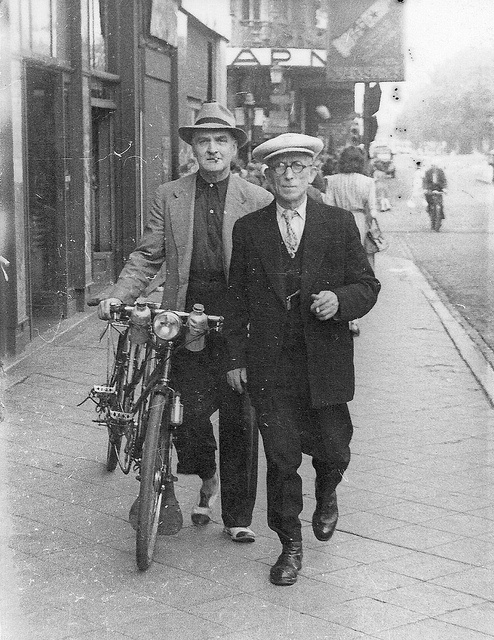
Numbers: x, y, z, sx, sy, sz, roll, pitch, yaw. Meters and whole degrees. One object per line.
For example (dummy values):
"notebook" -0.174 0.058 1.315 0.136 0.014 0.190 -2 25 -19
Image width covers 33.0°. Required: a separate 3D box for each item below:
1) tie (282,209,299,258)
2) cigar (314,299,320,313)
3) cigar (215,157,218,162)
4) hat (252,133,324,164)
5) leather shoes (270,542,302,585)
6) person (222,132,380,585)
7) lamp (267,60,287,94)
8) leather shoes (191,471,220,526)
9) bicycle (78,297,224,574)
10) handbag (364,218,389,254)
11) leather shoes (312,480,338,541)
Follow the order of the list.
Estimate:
"tie" 0.126 -0.248 2.365 0.040 0.129 0.042 -4 13 -8
"cigar" 0.195 -0.040 2.316 0.020 0.027 0.007 -12 6 -4
"cigar" -0.092 -0.481 2.502 0.011 0.011 0.019 0 -18 0
"hat" 0.117 -0.489 2.365 0.203 0.083 0.116 -1 13 4
"leather shoes" 0.111 0.688 2.372 0.071 0.087 0.139 2 13 18
"person" 0.180 0.086 2.426 0.422 1.230 0.351 -7 14 -23
"lamp" 0.086 -0.672 2.327 0.031 0.084 0.062 -11 15 -36
"leather shoes" -0.135 0.604 2.839 0.058 0.065 0.167 9 48 9
"bicycle" -0.308 0.294 2.595 0.340 0.765 0.541 -9 14 -30
"handbag" 0.385 -0.257 2.487 0.060 0.111 0.064 -15 29 7
"leather shoes" 0.244 0.589 2.583 0.069 0.190 0.074 -4 -10 7
